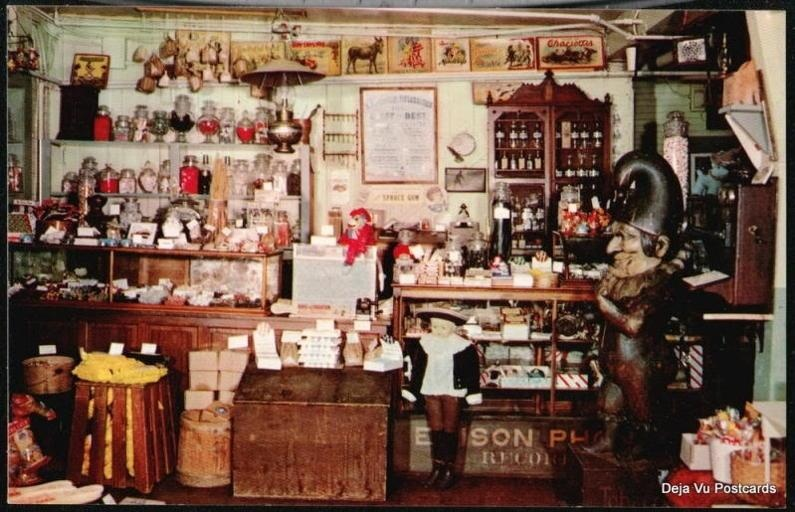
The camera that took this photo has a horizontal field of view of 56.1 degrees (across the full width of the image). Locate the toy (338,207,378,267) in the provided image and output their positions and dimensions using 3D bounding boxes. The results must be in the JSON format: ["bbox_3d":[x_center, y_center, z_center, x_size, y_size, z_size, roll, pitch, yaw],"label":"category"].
[{"bbox_3d":[-0.374,-0.184,7.136,0.367,0.520,0.191,1,0,-5],"label":"toy"}]

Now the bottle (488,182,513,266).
[{"bbox_3d":[0.997,-0.334,7.177,0.188,0.760,0.172,1,0,0],"label":"bottle"}]

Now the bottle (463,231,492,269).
[{"bbox_3d":[0.769,-0.070,7.167,0.278,0.445,0.315,-2,-2,40],"label":"bottle"}]

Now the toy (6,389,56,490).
[{"bbox_3d":[-3.361,1.682,6.868,0.369,0.724,0.195,1,0,-25],"label":"toy"}]

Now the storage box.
[{"bbox_3d":[-0.712,1.618,7.170,1.466,1.047,1.105,0,-2,9],"label":"storage box"}]

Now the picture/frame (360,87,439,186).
[{"bbox_3d":[0.035,-1.156,7.310,0.998,1.163,0.080,0,1,2],"label":"picture/frame"}]

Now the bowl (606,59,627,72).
[{"bbox_3d":[2.147,-1.873,7.306,0.218,0.145,0.120,1,20,5],"label":"bowl"}]

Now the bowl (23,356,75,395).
[{"bbox_3d":[-3.350,1.131,7.168,0.437,0.270,0.428,3,6,0],"label":"bowl"}]

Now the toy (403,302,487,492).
[{"bbox_3d":[0.409,1.301,7.008,0.731,1.612,0.270,1,0,6],"label":"toy"}]

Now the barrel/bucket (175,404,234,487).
[{"bbox_3d":[-1.742,1.788,7.094,0.613,0.643,0.609,1,0,0],"label":"barrel/bucket"}]

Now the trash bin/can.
[{"bbox_3d":[-1.763,1.800,7.079,0.610,0.642,0.599,1,-1,3],"label":"trash bin/can"}]

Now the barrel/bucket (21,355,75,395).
[{"bbox_3d":[-3.270,1.128,7.012,0.392,0.246,0.382,1,0,0],"label":"barrel/bucket"}]

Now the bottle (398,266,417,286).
[{"bbox_3d":[0.105,0.190,7.036,0.163,0.117,0.160,-1,5,0],"label":"bottle"}]

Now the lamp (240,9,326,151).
[{"bbox_3d":[-1.100,-1.682,7.175,0.742,1.251,0.801,1,0,-12],"label":"lamp"}]
